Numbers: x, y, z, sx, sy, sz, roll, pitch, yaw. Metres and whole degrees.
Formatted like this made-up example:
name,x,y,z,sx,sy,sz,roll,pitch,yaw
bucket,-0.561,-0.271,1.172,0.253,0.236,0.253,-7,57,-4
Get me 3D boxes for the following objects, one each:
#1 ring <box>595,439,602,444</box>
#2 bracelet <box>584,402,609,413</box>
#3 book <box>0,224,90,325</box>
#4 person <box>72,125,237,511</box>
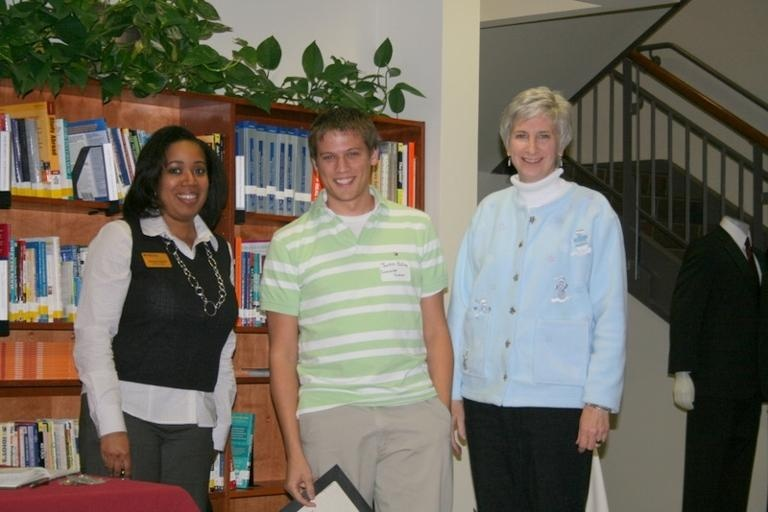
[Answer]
name,x,y,z,sx,sy,sz,roll,pitch,yaw
ring,0.902,0.787,2.862,0.024,0.022,0.023,-1,-31,-1
bracelet,0.896,0.639,2.842,0.061,0.023,0.053,13,-6,16
book,-1.747,0.145,3.701,0.438,0.606,0.443,-4,-5,42
person,-1.046,0.305,3.185,0.734,1.811,0.371,1,0,-26
